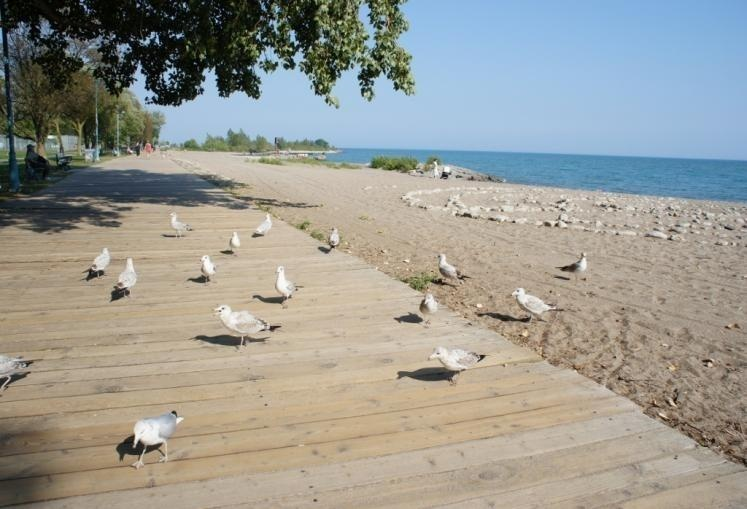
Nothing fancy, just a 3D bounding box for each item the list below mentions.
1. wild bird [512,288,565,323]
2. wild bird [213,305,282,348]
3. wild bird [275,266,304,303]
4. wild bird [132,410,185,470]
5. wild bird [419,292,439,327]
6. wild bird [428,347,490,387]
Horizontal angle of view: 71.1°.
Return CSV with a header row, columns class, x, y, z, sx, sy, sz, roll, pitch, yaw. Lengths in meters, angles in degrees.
class,x,y,z,sx,sy,sz,roll,pitch,yaw
wild bird,3.674,1.114,12.037,0.885,0.837,1.049,10,16,16
wild bird,-2.390,1.316,9.745,1.347,0.610,0.519,3,-4,-42
wild bird,-1.867,0.647,11.441,0.514,0.604,1.008,-1,4,-37
wild bird,-3.064,2.603,7.425,0.669,0.613,0.557,-1,17,-20
wild bird,1.171,1.142,10.958,0.456,0.564,0.981,8,1,14
wild bird,1.430,1.876,9.083,0.895,0.646,0.543,6,16,4
